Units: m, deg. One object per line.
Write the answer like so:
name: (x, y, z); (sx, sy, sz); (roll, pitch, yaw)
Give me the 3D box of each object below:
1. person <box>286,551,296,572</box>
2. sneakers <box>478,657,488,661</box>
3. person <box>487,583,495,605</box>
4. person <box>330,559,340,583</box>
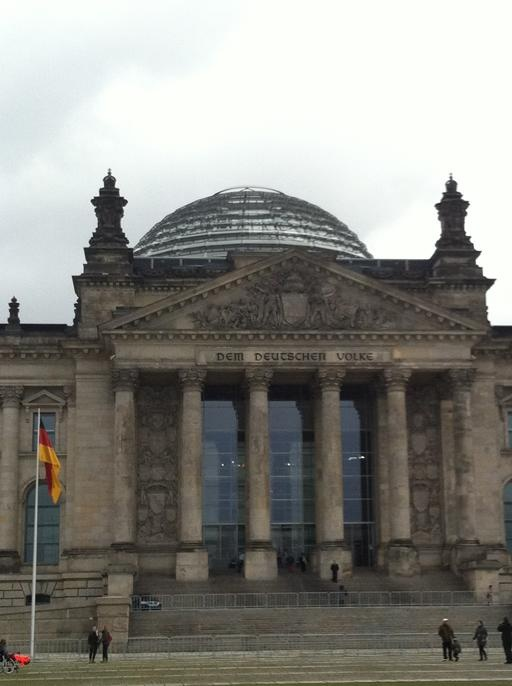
person: (1.739, 10.950, 91.748); (0.620, 1.030, 0.410); (5, -12, -15)
sneakers: (8.452, 11.498, 66.912); (0.275, 0.183, 0.104); (4, -17, 10)
person: (11.137, 11.638, 85.075); (0.276, 0.999, 0.941); (-5, -19, 11)
person: (3.815, 10.830, 86.780); (0.460, 1.166, 0.942); (-2, -18, 2)
